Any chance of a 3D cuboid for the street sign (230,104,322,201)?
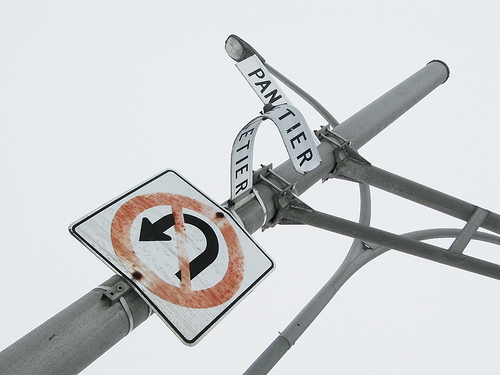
[{"bbox_3d":[0.175,-0.353,8.837,0.850,0.705,0.920,-10,-83,22],"label":"street sign"}]
